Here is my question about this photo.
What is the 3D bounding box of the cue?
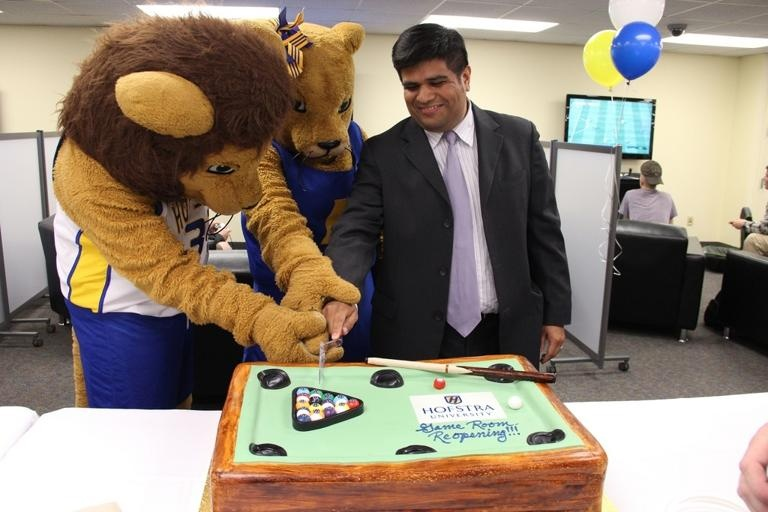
[{"bbox_3d":[0.195,0.285,1.477,0.469,0.050,0.105,0,8,6],"label":"cue"}]

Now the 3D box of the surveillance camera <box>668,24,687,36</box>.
[{"bbox_3d":[3.297,-2.534,6.370,0.155,0.108,0.150,0,8,-1],"label":"surveillance camera"}]

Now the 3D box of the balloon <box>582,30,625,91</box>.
[{"bbox_3d":[1.883,-1.646,4.794,0.379,0.391,0.369,-7,5,16],"label":"balloon"}]

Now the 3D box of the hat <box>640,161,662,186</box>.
[{"bbox_3d":[2.703,-0.822,5.718,0.175,0.258,0.417,3,9,24],"label":"hat"}]

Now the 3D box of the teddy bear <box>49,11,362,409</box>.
[{"bbox_3d":[-0.550,-0.054,1.623,0.794,1.181,0.338,3,9,23],"label":"teddy bear"}]

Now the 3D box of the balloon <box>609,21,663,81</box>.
[{"bbox_3d":[1.823,-1.444,4.078,0.370,0.420,0.358,-3,19,-25],"label":"balloon"}]

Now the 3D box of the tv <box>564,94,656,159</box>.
[{"bbox_3d":[3.221,-1.807,8.036,1.412,0.892,0.361,-3,9,-20],"label":"tv"}]
